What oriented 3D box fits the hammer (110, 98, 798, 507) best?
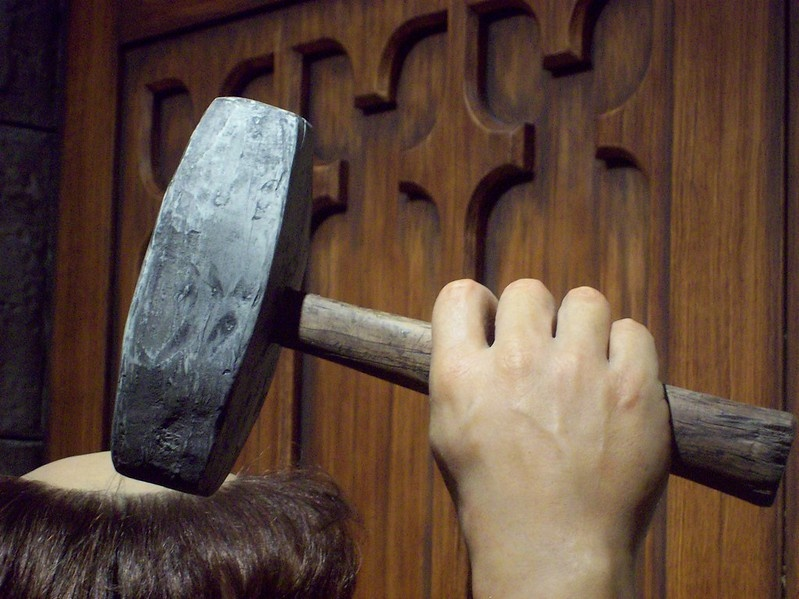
[{"bbox_3d":[0.034,0.094,2.789,0.783,0.595,0.359,20,9,-2],"label":"hammer"}]
